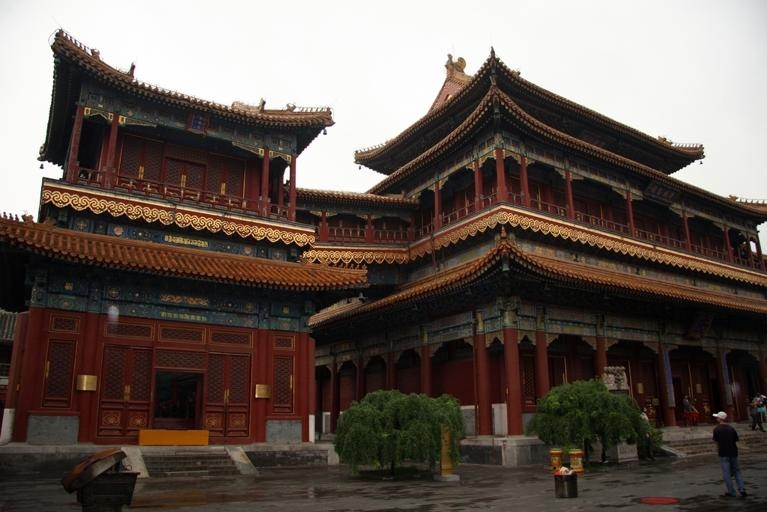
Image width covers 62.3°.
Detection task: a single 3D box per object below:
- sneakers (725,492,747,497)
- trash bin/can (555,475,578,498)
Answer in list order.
[{"bbox_3d":[9.708,6.505,17.325,0.255,0.087,0.254,0,-4,10],"label":"sneakers"},{"bbox_3d":[5.242,6.434,17.817,0.609,0.610,0.622,-18,-26,40],"label":"trash bin/can"}]
